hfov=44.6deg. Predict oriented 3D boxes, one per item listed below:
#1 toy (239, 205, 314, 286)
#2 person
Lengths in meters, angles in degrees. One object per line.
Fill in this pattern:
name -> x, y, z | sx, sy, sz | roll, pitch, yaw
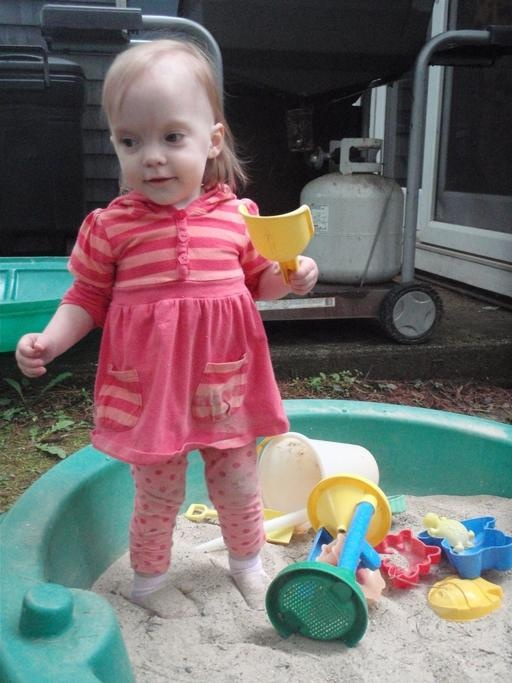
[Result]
toy -> 0.029, -0.141, 0.852 | 0.099, 0.111, 0.091 | 0, 36, 21
person -> -0.145, -0.016, 0.986 | 0.442, 0.891, 0.270 | -4, 14, -18
